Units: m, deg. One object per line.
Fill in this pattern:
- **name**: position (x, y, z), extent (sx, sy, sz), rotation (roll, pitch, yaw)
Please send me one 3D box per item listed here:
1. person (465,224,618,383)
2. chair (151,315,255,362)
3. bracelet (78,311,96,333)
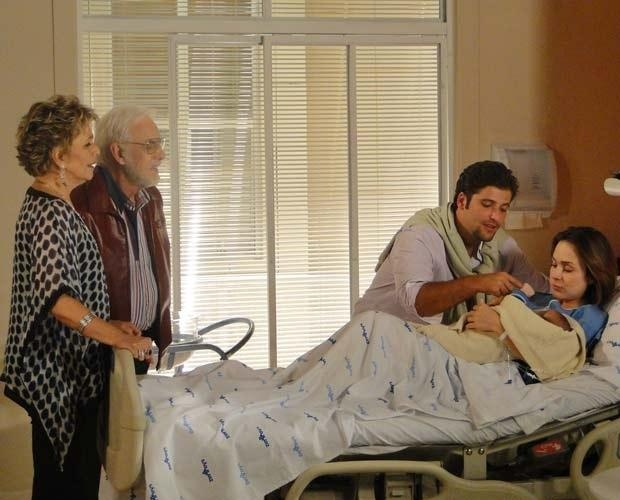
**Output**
- **person**: position (1.106, 0.179, 3.733), extent (0.699, 0.864, 0.566), rotation (6, 8, -8)
- **chair**: position (-0.543, 0.503, 4.208), extent (0.339, 0.191, 0.283), rotation (-7, 10, -7)
- **bracelet**: position (-0.903, 0.288, 3.056), extent (0.049, 0.081, 0.072), rotation (32, -6, 25)
